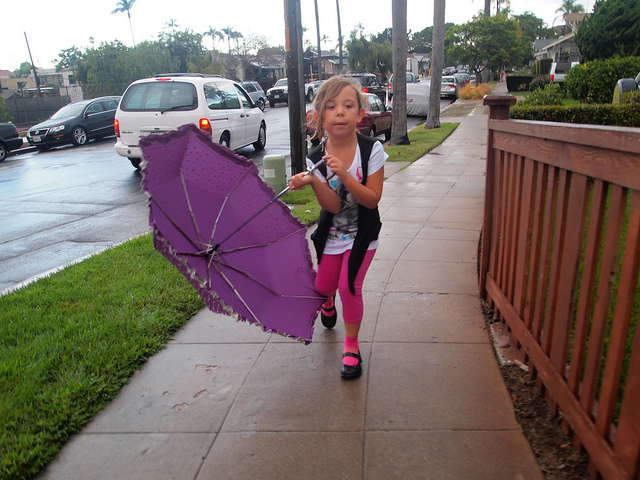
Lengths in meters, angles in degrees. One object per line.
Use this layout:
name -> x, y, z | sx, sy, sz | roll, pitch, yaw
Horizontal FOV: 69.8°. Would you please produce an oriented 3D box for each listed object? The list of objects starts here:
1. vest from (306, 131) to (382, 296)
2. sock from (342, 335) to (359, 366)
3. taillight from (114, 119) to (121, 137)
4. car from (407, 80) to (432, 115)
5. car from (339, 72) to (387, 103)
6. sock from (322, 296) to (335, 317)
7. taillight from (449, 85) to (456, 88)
vest -> 0.161, -0.186, 3.152 | 0.502, 1.045, 0.491 | -2, 21, 6
sock -> 0.216, 0.776, 3.262 | 0.117, 0.181, 0.139 | -3, 21, 3
taillight -> -4.948, -2.742, 11.197 | 0.068, 0.428, 0.356 | -16, 24, -28
car -> 5.027, -7.141, 23.486 | 1.198, 0.875, 2.649 | 4, 33, 16
car -> 3.152, -9.281, 28.270 | 1.831, 1.847, 3.820 | 14, 25, 35
sock -> 0.075, 0.532, 3.781 | 0.077, 0.174, 0.196 | 0, -3, 17
taillight -> 10.166, -11.813, 35.148 | 0.289, 0.231, 0.750 | 13, 28, 38
